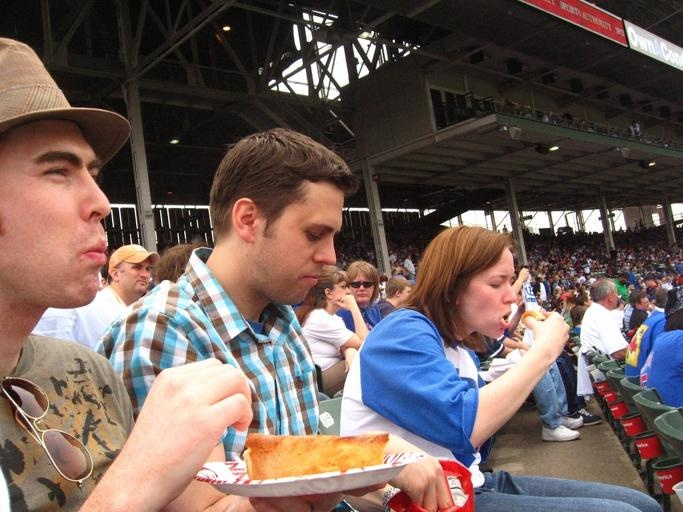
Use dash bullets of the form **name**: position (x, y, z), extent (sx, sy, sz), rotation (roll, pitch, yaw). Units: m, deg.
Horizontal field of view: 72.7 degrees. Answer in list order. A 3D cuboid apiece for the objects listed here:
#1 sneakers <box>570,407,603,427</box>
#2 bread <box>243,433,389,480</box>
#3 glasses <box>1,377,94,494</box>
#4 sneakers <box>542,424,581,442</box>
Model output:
- **sneakers**: position (3.299, 2.156, 6.232), extent (0.600, 0.231, 0.203), rotation (-3, -2, 4)
- **bread**: position (-0.091, 0.514, 1.239), extent (0.275, 0.075, 0.156), rotation (-2, -25, 6)
- **glasses**: position (-0.659, 0.394, 1.048), extent (0.125, 0.261, 0.144), rotation (-4, -2, 9)
- **sneakers**: position (2.626, 2.130, 5.660), extent (0.516, 0.188, 0.171), rotation (-2, 0, 8)
